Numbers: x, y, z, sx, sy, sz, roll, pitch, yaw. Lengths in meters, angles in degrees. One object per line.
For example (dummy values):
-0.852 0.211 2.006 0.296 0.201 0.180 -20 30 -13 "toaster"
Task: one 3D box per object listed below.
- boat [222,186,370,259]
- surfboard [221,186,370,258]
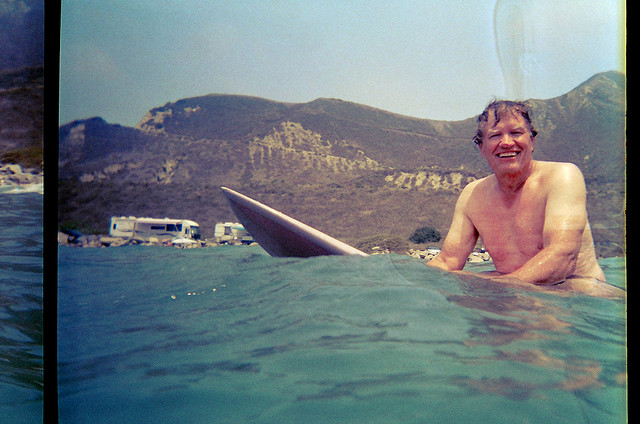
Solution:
-0.515 0.000 5.848 1.926 0.492 0.243 17 45 31 "boat"
-0.465 0.028 5.819 1.925 0.517 0.184 14 45 29 "surfboard"
